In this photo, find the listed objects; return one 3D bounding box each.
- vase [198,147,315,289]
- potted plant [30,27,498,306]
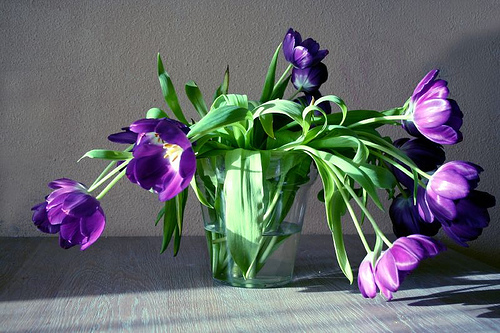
[{"bbox_3d":[0.018,0.089,0.774,0.240,0.258,0.244,3,3,-2],"label":"vase"},{"bbox_3d":[-0.016,0.000,0.819,0.621,0.310,0.632,2,0,-1],"label":"potted plant"}]
